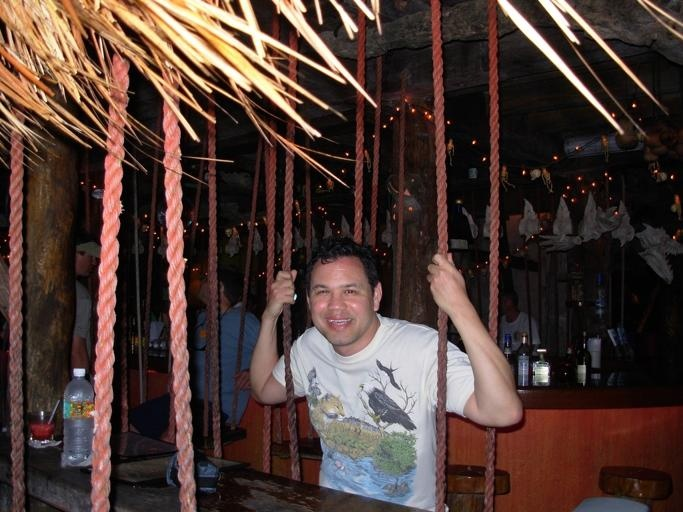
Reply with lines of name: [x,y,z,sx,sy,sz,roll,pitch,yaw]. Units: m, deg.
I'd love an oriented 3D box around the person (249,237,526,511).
person: [0.095,0.448,2.581,0.450,1.039,1.142,11,-17,-39]

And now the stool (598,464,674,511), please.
stool: [1.706,1.364,3.805,0.365,0.268,0.576,-6,-15,21]

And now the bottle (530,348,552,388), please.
bottle: [1.364,0.759,4.451,0.155,0.239,0.157,5,-12,1]

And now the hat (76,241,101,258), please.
hat: [-1.741,-0.048,4.506,0.157,0.093,0.100,16,1,-10]

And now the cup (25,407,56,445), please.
cup: [-1.264,0.728,2.794,0.133,0.146,0.136,-3,-5,0]

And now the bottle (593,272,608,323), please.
bottle: [3.398,0.460,8.511,0.168,0.817,0.179,-6,11,1]

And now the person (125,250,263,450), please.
person: [-1.016,0.642,4.436,0.749,1.142,0.746,3,4,0]
